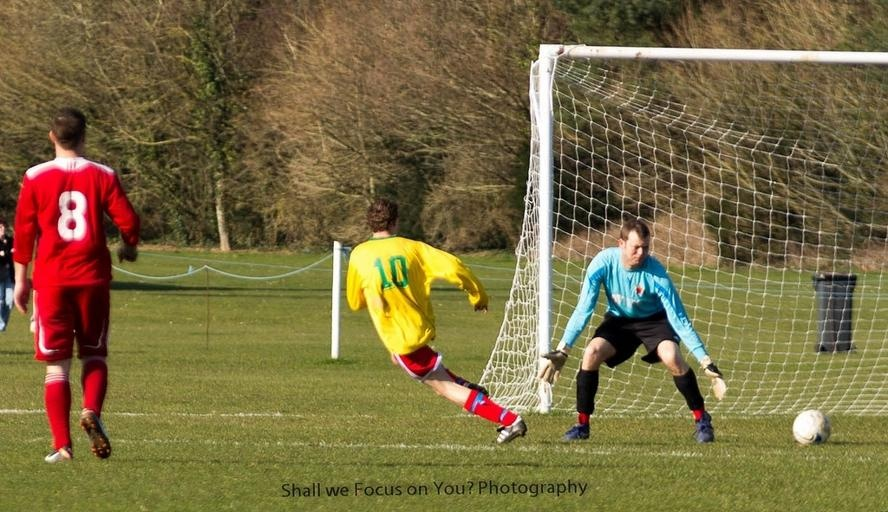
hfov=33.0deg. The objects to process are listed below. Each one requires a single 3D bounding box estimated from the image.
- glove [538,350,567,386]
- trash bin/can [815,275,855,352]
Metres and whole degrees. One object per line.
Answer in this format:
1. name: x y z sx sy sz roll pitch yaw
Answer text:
1. glove: 2.442 2.522 33.887 0.600 0.749 0.332 1 3 -6
2. trash bin/can: 10.272 1.520 39.547 1.062 2.037 1.002 2 3 4
